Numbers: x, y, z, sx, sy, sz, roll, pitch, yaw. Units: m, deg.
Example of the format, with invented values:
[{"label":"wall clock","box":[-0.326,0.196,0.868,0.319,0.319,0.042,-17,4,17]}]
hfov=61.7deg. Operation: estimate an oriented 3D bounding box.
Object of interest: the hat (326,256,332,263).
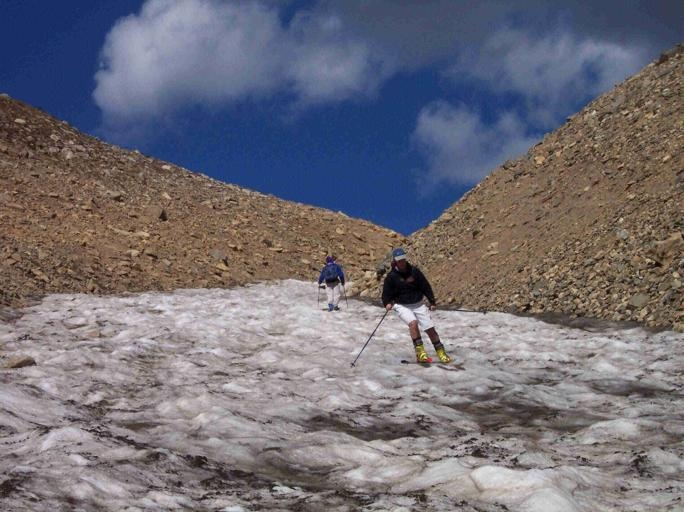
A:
[{"label":"hat","box":[-0.438,0.133,20.420,0.247,0.165,0.295,4,-45,-3]}]

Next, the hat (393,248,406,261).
[{"label":"hat","box":[1.316,-0.033,13.153,0.406,0.597,0.263,-9,-89,-1]}]
